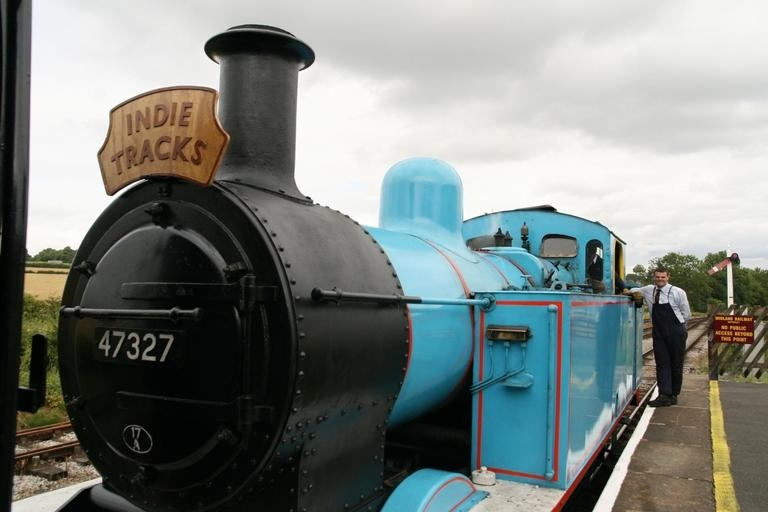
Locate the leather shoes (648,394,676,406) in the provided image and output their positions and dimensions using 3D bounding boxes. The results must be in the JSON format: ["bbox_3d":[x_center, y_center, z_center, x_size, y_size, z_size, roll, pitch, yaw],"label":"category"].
[{"bbox_3d":[4.564,2.353,9.630,0.572,0.238,0.189,1,-2,-8],"label":"leather shoes"}]

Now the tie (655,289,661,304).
[{"bbox_3d":[4.265,0.608,9.111,0.096,0.249,0.042,0,0,24],"label":"tie"}]
